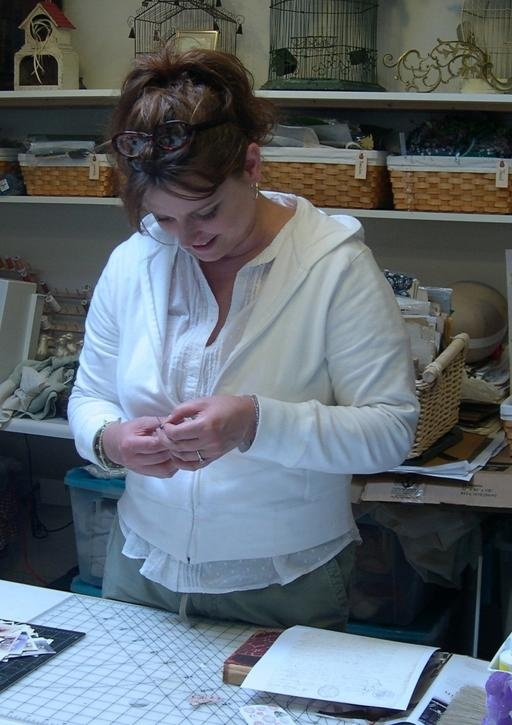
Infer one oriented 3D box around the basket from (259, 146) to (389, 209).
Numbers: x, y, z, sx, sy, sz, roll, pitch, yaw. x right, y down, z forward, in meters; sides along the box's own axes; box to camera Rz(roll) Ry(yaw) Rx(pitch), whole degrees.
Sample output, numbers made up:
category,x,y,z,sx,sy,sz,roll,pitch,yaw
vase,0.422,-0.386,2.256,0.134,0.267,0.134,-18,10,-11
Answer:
category,x,y,z,sx,sy,sz,roll,pitch,yaw
basket,0.227,-0.540,1.851,0.466,0.181,0.290,3,8,11
